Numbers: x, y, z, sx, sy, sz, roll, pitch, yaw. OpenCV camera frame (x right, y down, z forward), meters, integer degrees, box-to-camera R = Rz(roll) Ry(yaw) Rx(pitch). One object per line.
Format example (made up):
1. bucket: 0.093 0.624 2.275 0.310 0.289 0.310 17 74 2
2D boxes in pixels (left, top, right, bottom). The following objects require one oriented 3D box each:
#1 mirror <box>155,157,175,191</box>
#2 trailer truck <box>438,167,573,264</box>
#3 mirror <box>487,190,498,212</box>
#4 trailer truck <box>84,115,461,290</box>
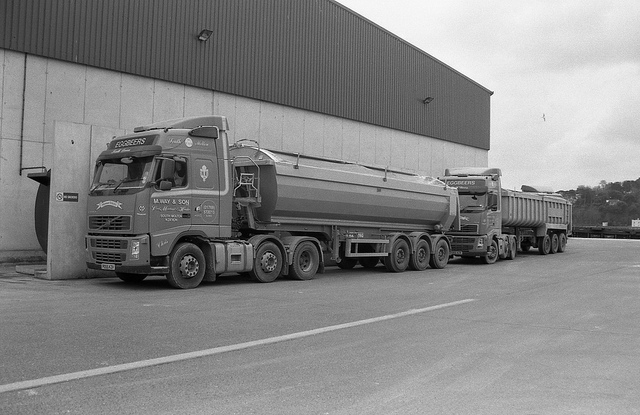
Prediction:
1. mirror: -4.268 -0.944 14.045 0.492 0.909 0.230 0 2 -19
2. trailer truck: 10.521 0.311 28.788 10.227 4.750 3.267 3 -3 -41
3. mirror: 8.210 -0.378 24.635 0.248 1.022 0.883 3 3 42
4. trailer truck: -0.799 0.307 19.196 13.994 5.167 4.561 6 -9 -41
